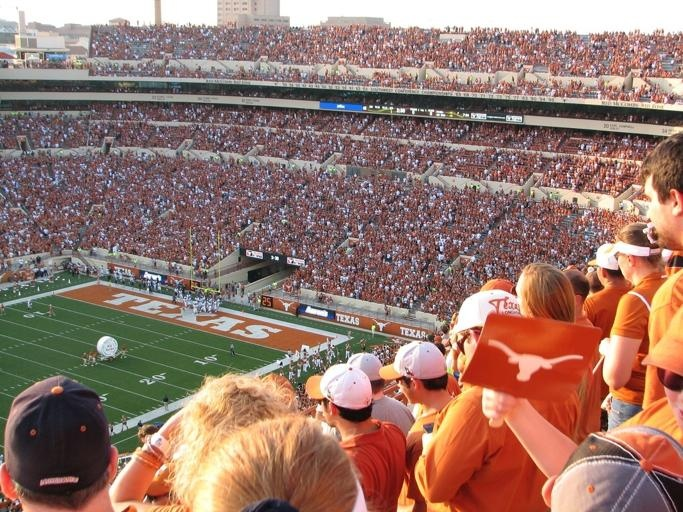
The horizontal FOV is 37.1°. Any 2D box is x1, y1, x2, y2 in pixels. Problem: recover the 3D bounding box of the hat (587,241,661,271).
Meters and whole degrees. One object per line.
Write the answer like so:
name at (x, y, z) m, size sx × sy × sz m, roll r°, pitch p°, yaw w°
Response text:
hat at (7.228, -0.029, 26.407) m, size 0.759 × 0.587 × 1.073 m, roll -9°, pitch 32°, yaw -39°
